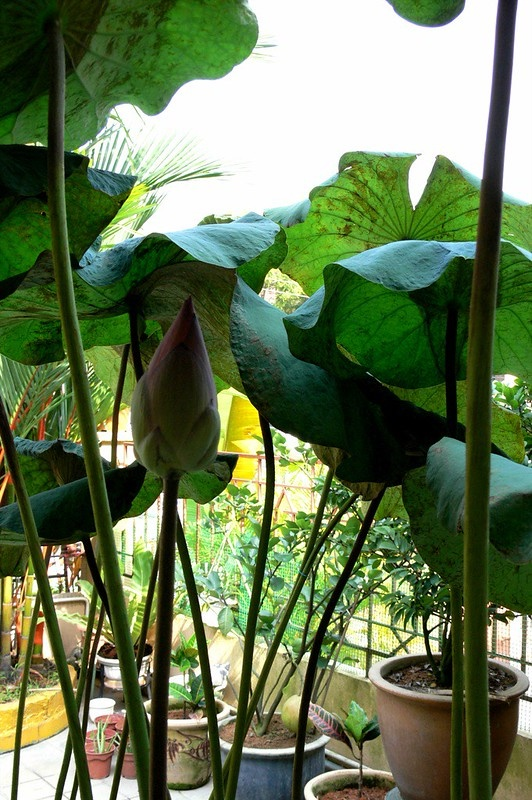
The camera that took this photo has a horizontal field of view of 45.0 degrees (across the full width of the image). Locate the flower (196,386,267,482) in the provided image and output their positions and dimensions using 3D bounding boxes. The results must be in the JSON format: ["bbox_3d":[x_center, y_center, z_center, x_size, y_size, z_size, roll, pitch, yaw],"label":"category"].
[{"bbox_3d":[-0.127,0.240,4.460,0.439,0.659,0.131,4,-4,-44],"label":"flower"}]

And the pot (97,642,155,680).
[{"bbox_3d":[-0.815,1.503,3.659,0.289,0.247,0.463,4,-9,-13],"label":"pot"}]
